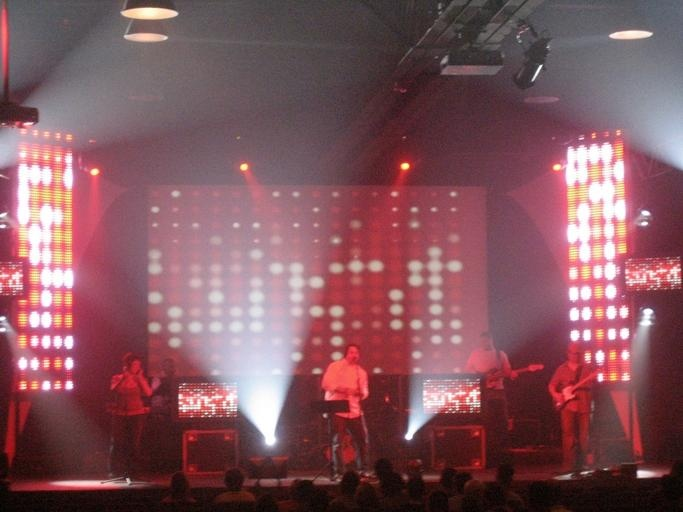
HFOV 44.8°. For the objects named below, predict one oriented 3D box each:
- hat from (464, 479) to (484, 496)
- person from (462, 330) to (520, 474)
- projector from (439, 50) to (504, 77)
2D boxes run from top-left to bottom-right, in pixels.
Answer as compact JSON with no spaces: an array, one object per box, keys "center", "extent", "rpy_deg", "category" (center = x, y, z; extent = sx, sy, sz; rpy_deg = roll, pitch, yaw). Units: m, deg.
[{"center":[1.190,2.095,7.500],"extent":[0.163,0.130,0.121],"rpy_deg":[6,-6,14],"category":"hat"},{"center":[2.173,2.029,11.964],"extent":[0.676,1.869,1.487],"rpy_deg":[-4,-8,9],"category":"person"},{"center":[1.375,-2.077,8.885],"extent":[0.681,0.203,0.565],"rpy_deg":[-1,-2,4],"category":"projector"}]
